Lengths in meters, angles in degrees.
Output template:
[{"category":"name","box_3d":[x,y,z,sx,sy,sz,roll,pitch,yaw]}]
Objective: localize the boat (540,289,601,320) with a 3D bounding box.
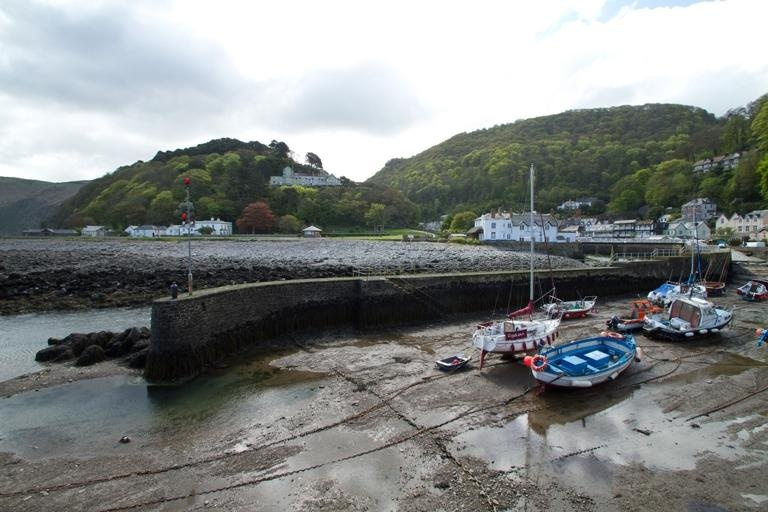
[{"category":"boat","box_3d":[12.199,3.176,31.495,3.123,1.182,1.304,-6,17,-13]}]

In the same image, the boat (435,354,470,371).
[{"category":"boat","box_3d":[3.333,5.040,22.553,1.659,0.460,0.847,-4,3,-29]}]

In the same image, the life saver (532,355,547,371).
[{"category":"life saver","box_3d":[6.728,4.583,20.566,0.669,0.558,0.568,-4,4,-4]}]

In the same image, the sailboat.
[{"category":"sailboat","box_3d":[6.378,1.513,22.830,4.701,6.063,1.858,-16,17,-17]}]
